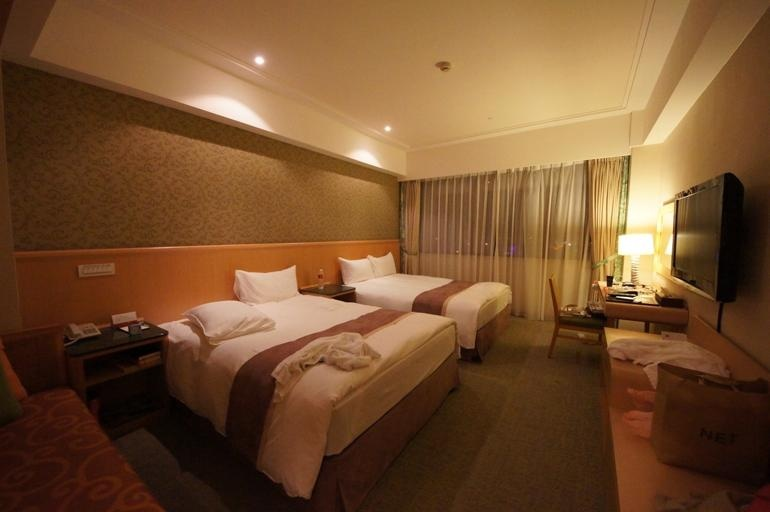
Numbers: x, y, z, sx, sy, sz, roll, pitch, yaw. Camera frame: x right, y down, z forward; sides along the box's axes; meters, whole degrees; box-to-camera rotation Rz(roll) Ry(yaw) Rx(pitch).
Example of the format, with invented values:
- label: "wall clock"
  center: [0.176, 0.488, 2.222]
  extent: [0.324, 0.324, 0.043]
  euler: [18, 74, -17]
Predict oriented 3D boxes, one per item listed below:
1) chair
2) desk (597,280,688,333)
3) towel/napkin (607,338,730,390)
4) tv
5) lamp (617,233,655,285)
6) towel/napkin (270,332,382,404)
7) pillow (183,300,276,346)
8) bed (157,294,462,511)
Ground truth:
- label: "chair"
  center: [2.322, 0.727, 5.777]
  extent: [0.624, 0.927, 0.575]
  euler: [4, 10, 20]
- label: "desk"
  center: [2.795, 0.645, 5.225]
  extent: [0.746, 0.512, 0.908]
  euler: [1, 3, 23]
- label: "towel/napkin"
  center: [2.415, 0.927, 4.090]
  extent: [0.507, 0.336, 0.868]
  euler: [-2, 3, -33]
- label: "tv"
  center: [2.836, -0.160, 4.181]
  extent: [0.275, 1.044, 0.839]
  euler: [0, 3, 13]
- label: "lamp"
  center: [3.158, 0.028, 5.989]
  extent: [0.366, 0.629, 0.675]
  euler: [2, 4, 33]
- label: "towel/napkin"
  center: [-0.513, 0.873, 4.079]
  extent: [0.488, 0.233, 0.670]
  euler: [7, 10, 28]
- label: "pillow"
  center: [-1.456, 0.631, 4.590]
  extent: [0.534, 0.169, 0.493]
  euler: [-3, 14, -30]
- label: "bed"
  center: [-0.322, 1.145, 4.414]
  extent: [1.770, 0.688, 1.813]
  euler: [7, 14, 32]
